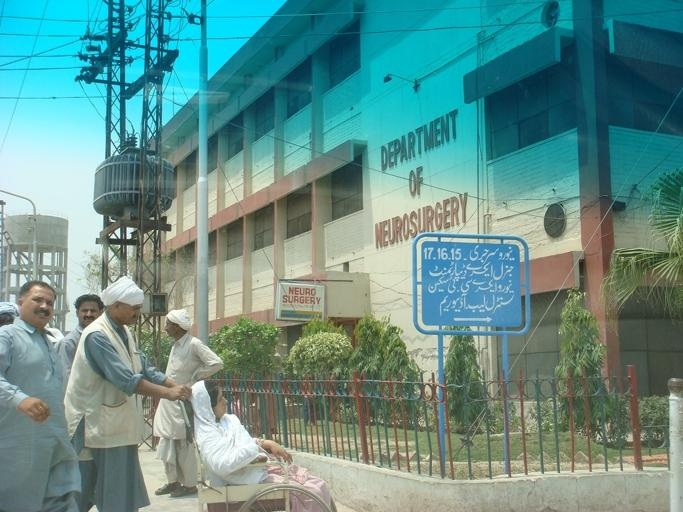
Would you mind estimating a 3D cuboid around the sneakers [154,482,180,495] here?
[{"bbox_3d":[-2.631,3.528,13.780,0.420,0.209,0.170,2,-7,-8],"label":"sneakers"}]

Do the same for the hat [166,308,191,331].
[{"bbox_3d":[-2.486,1.011,13.921,0.343,0.344,0.297,28,-6,-10],"label":"hat"}]

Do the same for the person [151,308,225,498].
[{"bbox_3d":[-2.338,2.231,13.530,0.900,3.033,1.583,9,-25,-23],"label":"person"}]

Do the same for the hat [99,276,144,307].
[{"bbox_3d":[-2.756,0.432,11.416,0.415,0.408,0.336,-3,1,4],"label":"hat"}]

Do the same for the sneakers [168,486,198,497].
[{"bbox_3d":[-2.404,3.551,13.720,0.424,0.202,0.166,0,4,-26],"label":"sneakers"}]
